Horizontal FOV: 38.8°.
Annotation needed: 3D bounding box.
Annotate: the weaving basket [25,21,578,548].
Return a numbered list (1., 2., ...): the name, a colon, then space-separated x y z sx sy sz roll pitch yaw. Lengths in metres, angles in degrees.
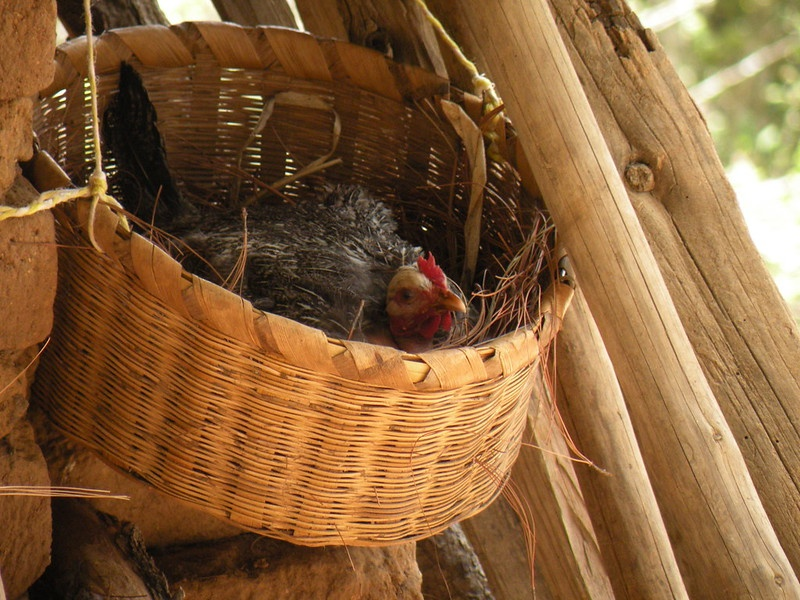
1. weaving basket: -0.287 -0.041 2.277 0.903 0.465 1.149 11 32 -34

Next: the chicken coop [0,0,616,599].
1. chicken coop: -0.255 0.053 2.283 1.096 0.945 0.820 27 9 9
